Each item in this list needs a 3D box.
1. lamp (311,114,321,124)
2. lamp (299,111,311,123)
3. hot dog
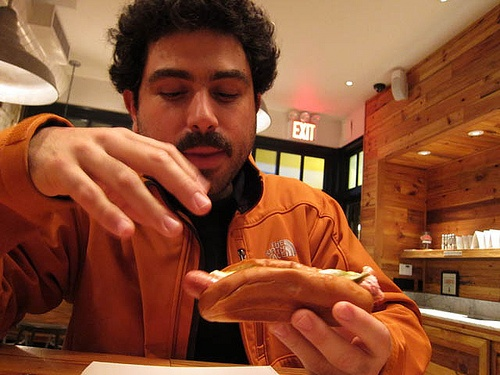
[{"bbox_3d":[1.078,-1.122,6.377,0.120,0.135,0.139,-2,5,7],"label":"lamp"},{"bbox_3d":[0.899,-1.143,6.374,0.161,0.126,0.168,2,0,15],"label":"lamp"},{"bbox_3d":[0.127,0.340,1.235,0.516,0.184,0.382,-2,-21,6],"label":"hot dog"}]
